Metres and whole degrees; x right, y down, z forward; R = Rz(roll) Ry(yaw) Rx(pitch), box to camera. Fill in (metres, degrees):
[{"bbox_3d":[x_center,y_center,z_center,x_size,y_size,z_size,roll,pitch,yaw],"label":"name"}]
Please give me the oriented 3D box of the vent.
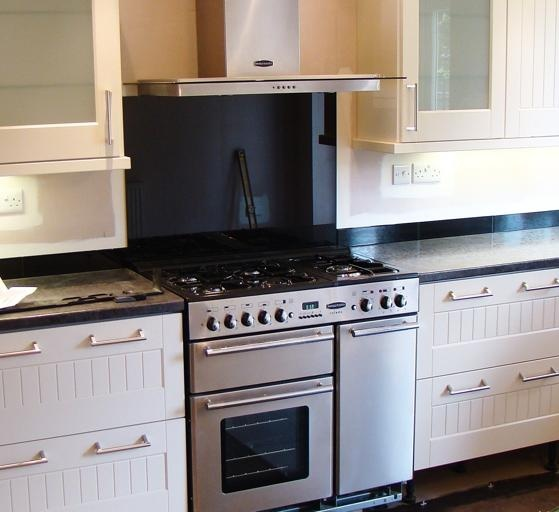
[{"bbox_3d":[-0.032,-0.676,2.223,0.659,0.300,0.469,-4,8,-21],"label":"vent"}]
